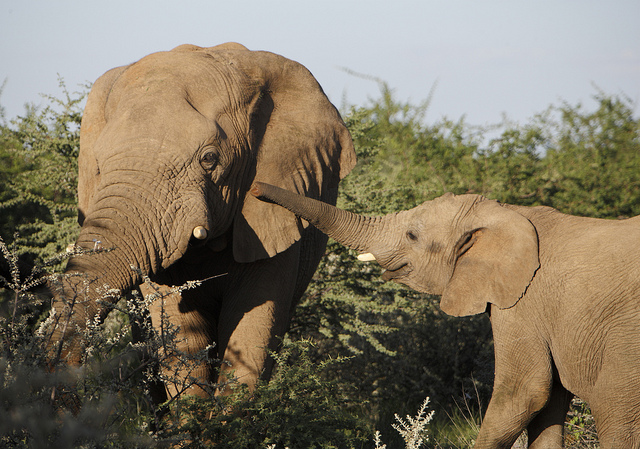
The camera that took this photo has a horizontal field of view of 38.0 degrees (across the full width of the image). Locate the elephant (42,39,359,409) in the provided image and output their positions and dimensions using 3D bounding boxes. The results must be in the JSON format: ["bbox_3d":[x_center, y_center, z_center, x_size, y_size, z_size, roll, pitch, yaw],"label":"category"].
[{"bbox_3d":[-1.165,-0.108,8.125,1.640,2.867,4.109,0,-8,10],"label":"elephant"}]
